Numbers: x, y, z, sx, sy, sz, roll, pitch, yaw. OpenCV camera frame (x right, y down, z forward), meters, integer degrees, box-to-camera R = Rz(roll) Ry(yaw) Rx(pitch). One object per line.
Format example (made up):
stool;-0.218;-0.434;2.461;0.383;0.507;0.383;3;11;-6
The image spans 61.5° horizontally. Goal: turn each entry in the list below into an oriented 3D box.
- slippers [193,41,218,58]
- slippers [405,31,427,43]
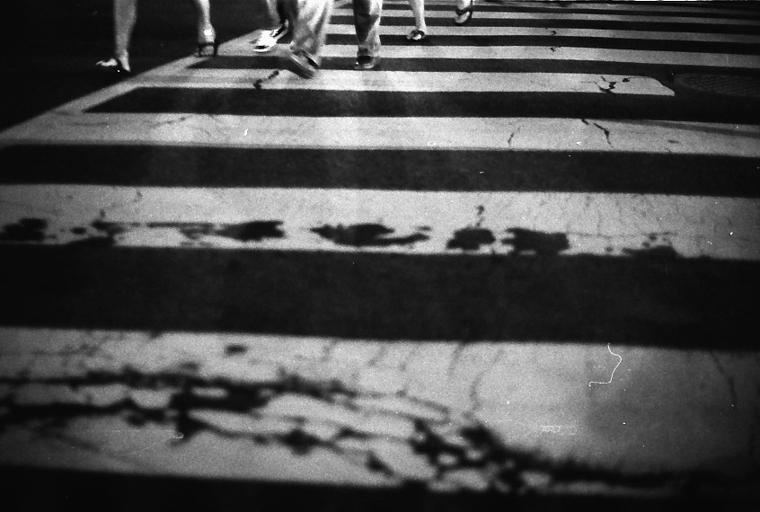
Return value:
slippers;-2.039;-2.425;7.465;0.155;0.174;0.198;21;39;29
slippers;0.488;-2.926;8.506;0.149;0.111;0.286;4;25;3
